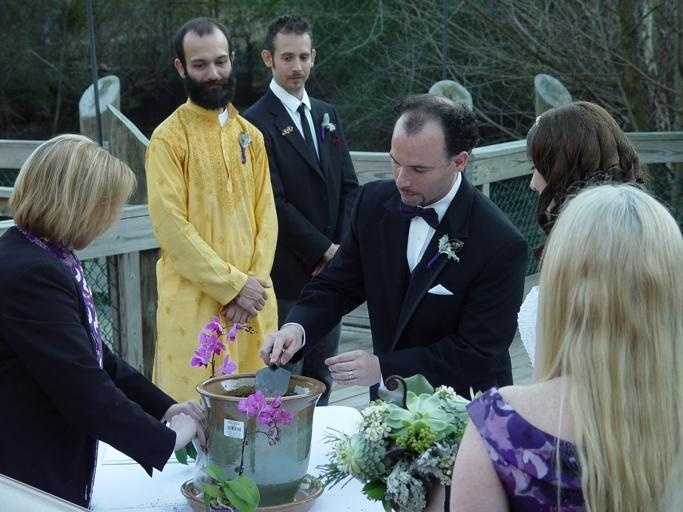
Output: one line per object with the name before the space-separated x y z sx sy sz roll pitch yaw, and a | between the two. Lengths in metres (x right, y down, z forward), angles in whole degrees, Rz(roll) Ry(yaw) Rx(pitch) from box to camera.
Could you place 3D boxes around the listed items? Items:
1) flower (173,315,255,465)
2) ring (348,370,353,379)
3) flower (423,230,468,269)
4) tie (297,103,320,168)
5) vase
flower | -0.473 0.466 3.049 0.334 0.628 0.212 12 -16 -32
ring | 0.033 0.415 3.035 0.021 0.017 0.021 -1 7 0
flower | 0.394 -0.018 3.217 0.029 0.124 0.116 2 46 -51
tie | -0.191 -0.716 4.919 0.070 0.466 0.051 10 -34 -29
vase | -0.245 0.499 2.538 0.348 0.303 0.365 1 0 -8
